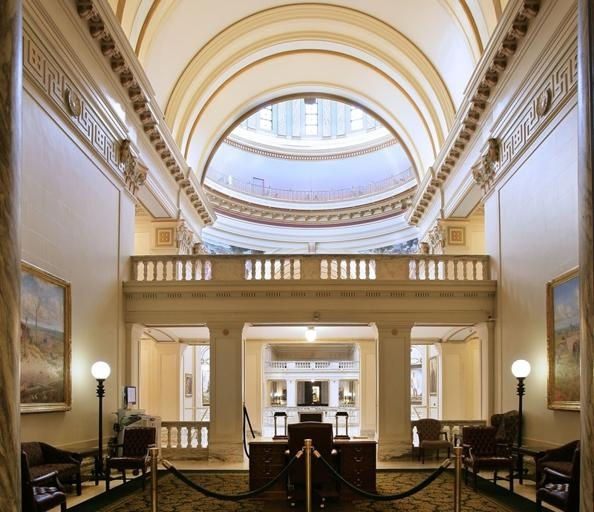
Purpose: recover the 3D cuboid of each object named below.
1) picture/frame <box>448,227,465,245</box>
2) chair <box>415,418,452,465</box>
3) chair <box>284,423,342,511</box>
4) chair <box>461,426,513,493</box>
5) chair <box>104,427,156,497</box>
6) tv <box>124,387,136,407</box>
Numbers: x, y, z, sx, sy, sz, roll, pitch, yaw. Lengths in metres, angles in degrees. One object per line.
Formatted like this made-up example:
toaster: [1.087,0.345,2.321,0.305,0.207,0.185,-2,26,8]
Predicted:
picture/frame: [4.693,-0.609,16.897,0.423,0.556,0.488,1,-6,6]
chair: [2.898,3.885,12.127,0.612,0.949,0.720,-6,-19,14]
chair: [0.224,3.077,8.614,0.996,1.849,1.039,-1,-8,3]
chair: [3.092,3.288,9.392,0.676,1.055,0.812,3,-17,-10]
chair: [-2.747,3.367,9.654,0.561,1.069,0.770,0,-16,2]
tv: [-3.353,2.806,11.543,0.123,0.440,0.398,-5,-12,8]
